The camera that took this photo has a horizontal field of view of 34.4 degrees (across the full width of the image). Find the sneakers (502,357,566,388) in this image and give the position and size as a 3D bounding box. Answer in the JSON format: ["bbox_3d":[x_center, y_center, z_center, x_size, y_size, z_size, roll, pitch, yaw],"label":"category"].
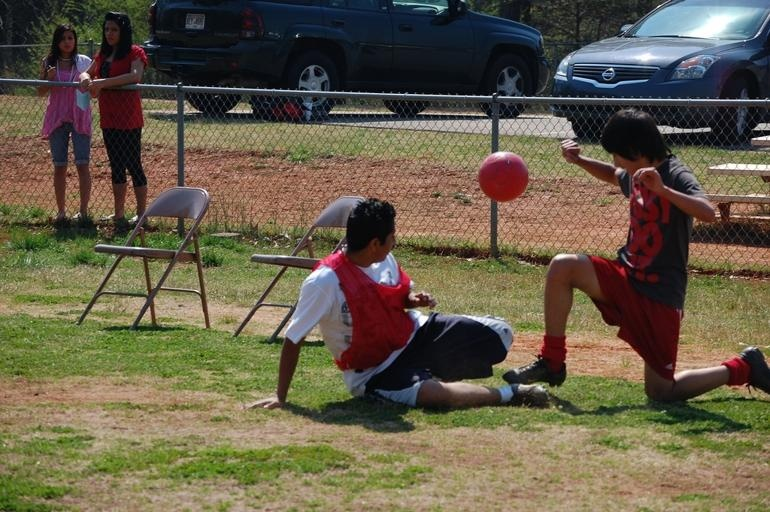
[{"bbox_3d":[1.283,0.979,10.446,0.569,0.272,0.200,6,1,3],"label":"sneakers"}]

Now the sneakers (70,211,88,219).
[{"bbox_3d":[-3.603,-0.485,14.708,0.195,0.076,0.091,4,4,20],"label":"sneakers"}]

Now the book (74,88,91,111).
[{"bbox_3d":[-3.401,-1.771,14.043,0.254,0.317,0.015,5,14,15],"label":"book"}]

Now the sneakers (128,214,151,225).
[{"bbox_3d":[-2.699,-0.401,13.706,0.185,0.093,0.242,-1,2,3],"label":"sneakers"}]

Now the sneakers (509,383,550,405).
[{"bbox_3d":[1.186,1.132,10.108,0.257,0.152,0.106,5,3,11],"label":"sneakers"}]

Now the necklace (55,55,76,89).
[{"bbox_3d":[-3.658,-2.112,14.268,0.253,0.093,0.396,3,48,-2],"label":"necklace"}]

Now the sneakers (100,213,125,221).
[{"bbox_3d":[-3.192,-0.452,14.647,0.317,0.118,0.116,3,2,29],"label":"sneakers"}]
